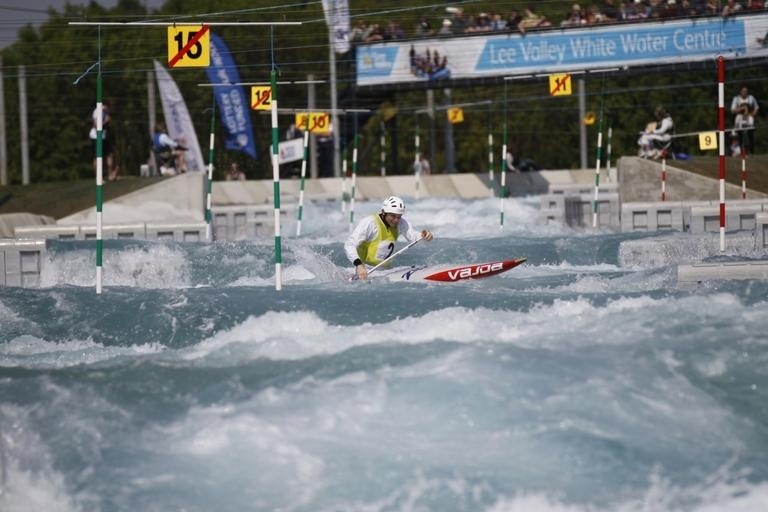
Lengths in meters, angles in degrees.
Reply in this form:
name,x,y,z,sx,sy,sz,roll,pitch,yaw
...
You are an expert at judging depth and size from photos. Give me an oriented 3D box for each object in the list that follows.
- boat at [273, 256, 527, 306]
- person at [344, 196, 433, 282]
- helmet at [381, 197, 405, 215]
name,x,y,z,sx,sy,sz,roll,pitch,yaw
boat,0.506,0.331,23.720,3.920,0.621,1.471,-5,10,3
person,0.114,-0.303,25.944,1.207,1.716,1.030,-22,50,-36
helmet,0.178,-0.983,24.064,0.315,0.338,0.415,4,-6,-15
